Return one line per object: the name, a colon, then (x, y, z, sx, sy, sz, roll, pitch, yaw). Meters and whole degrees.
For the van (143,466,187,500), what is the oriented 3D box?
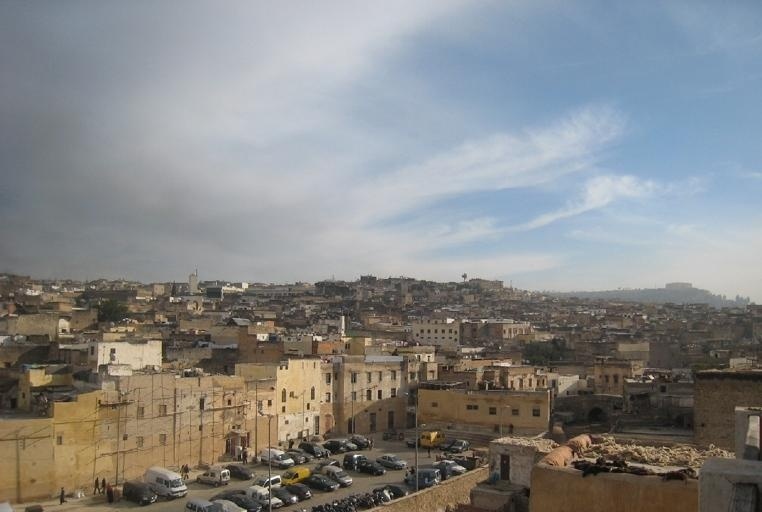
van: (-12.619, 13.418, 39.311, 2.453, 1.254, 1.305, -2, -1, 41)

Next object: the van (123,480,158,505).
van: (-13.916, 13.691, 38.382, 1.923, 0.731, 0.967, -2, -2, 43)

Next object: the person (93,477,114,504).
person: (-16.543, 13.980, 39.422, 1.153, 1.124, 0.277, -18, -4, 12)

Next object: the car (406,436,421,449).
car: (2.401, 14.274, 50.563, 1.183, 0.793, 1.756, -1, -15, 7)

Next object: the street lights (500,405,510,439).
street lights: (9.883, 12.882, 52.216, 0.967, 2.282, 0.462, -5, -12, 34)

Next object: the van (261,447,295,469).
van: (-6.988, 13.183, 43.840, 2.527, 0.981, 1.339, -1, -1, 32)
